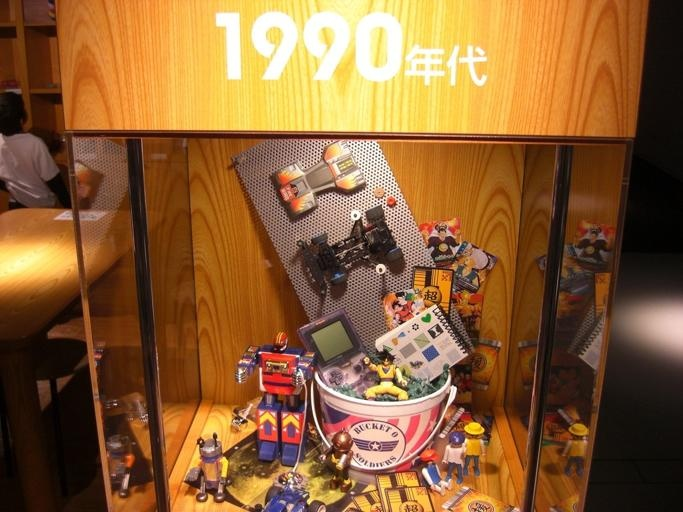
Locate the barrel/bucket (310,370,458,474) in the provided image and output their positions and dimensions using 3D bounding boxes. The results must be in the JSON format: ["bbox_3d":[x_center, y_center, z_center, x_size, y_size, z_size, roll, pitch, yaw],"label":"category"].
[{"bbox_3d":[0.118,0.495,1.445,0.283,0.189,0.291,2,15,0],"label":"barrel/bucket"}]

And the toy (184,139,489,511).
[{"bbox_3d":[-0.095,0.005,1.583,0.745,0.718,0.183,2,18,14],"label":"toy"}]
